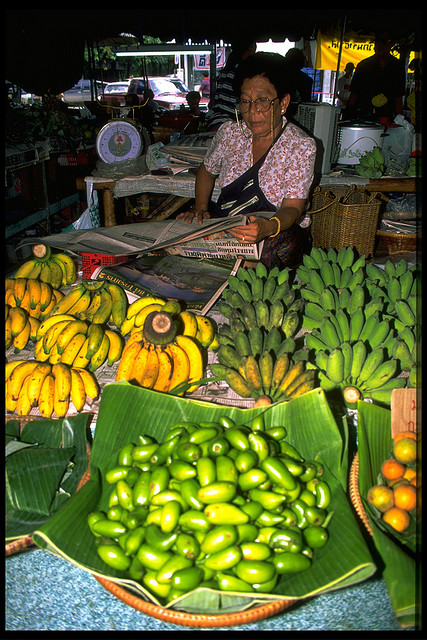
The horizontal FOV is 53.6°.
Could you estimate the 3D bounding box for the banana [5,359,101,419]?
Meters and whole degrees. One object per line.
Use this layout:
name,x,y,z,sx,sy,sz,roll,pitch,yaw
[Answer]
banana,-0.549,0.245,1.400,0.242,0.074,0.186,7,22,14

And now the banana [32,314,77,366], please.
banana,-0.627,0.088,1.628,0.053,0.203,0.155,23,25,-46

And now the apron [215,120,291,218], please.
apron,0.178,-0.792,2.436,0.411,0.402,0.138,18,27,37

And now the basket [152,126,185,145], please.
basket,-0.442,-1.808,4.145,0.227,0.102,0.329,24,29,38

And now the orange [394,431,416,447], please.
orange,0.486,0.301,1.068,0.034,0.034,0.035,2,-15,3

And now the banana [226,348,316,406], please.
banana,0.158,0.171,1.210,0.190,0.185,0.058,16,55,8

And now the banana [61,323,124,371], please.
banana,-0.450,0.105,1.568,0.165,0.060,0.189,30,46,16
